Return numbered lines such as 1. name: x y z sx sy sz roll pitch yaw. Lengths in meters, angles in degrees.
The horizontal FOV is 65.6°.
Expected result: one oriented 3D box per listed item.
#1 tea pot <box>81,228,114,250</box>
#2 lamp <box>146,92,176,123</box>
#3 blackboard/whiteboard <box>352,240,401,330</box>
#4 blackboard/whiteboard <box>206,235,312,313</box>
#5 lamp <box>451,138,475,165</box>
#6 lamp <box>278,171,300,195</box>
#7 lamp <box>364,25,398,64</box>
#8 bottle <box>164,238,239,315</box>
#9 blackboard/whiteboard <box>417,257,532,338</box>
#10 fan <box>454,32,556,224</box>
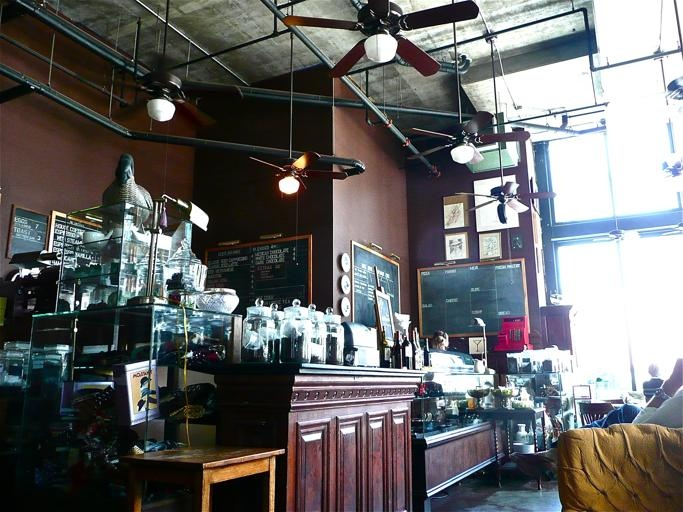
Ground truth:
1. tea pot: -1.338 -0.083 2.899 0.153 0.106 0.114 4 -9 10
2. lamp: -1.685 -1.400 4.942 0.212 0.235 0.233 0 -8 -12
3. blackboard/whiteboard: 0.564 0.552 8.086 0.037 1.255 1.998 -5 -11 25
4. blackboard/whiteboard: -0.941 0.211 6.542 1.052 0.740 0.042 -4 -15 23
5. lamp: 1.369 -1.173 6.068 0.256 0.235 0.259 -19 -39 35
6. lamp: -0.585 -0.822 5.958 0.212 0.191 0.216 -2 -8 2
7. lamp: 0.326 -1.698 4.302 0.278 0.212 0.223 -2 -8 3
8. bottle: -0.774 0.174 3.084 0.466 0.485 0.264 17 -22 -39
9. blackboard/whiteboard: 2.276 0.714 8.718 1.298 0.909 0.054 -3 -12 20
10. fan: 2.274 -1.943 7.742 1.118 1.992 1.192 -11 25 4
